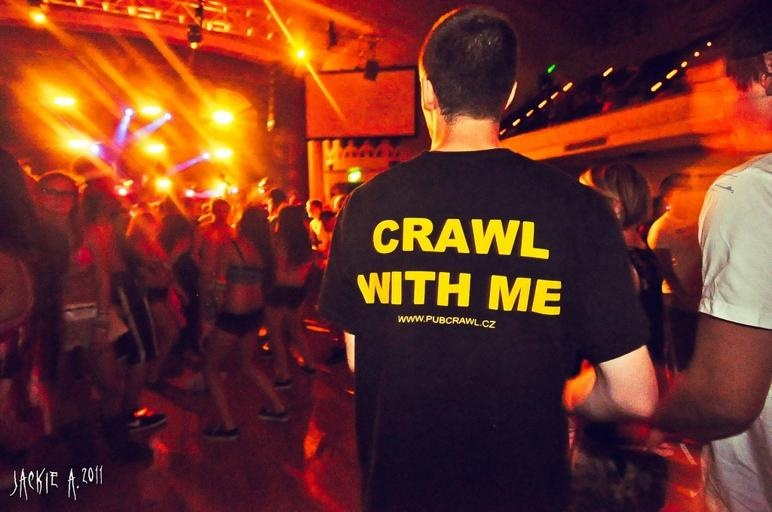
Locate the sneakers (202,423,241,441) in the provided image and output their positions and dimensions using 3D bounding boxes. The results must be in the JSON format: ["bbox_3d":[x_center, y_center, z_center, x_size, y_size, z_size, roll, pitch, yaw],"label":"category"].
[{"bbox_3d":[-1.817,1.951,6.931,0.372,0.147,0.156,5,-11,-3],"label":"sneakers"}]

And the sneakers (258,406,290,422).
[{"bbox_3d":[-1.285,1.805,7.194,0.308,0.122,0.145,7,-3,6],"label":"sneakers"}]

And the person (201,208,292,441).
[{"bbox_3d":[-1.559,0.710,7.216,0.890,2.577,0.946,3,2,-12],"label":"person"}]

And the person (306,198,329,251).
[{"bbox_3d":[-1.133,-0.482,10.347,0.319,0.341,0.888,-9,39,-23],"label":"person"}]

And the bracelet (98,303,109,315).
[{"bbox_3d":[-2.960,0.569,6.561,0.140,0.137,0.078,0,2,-39],"label":"bracelet"}]

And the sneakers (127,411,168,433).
[{"bbox_3d":[-2.644,1.838,6.933,0.405,0.155,0.143,11,5,-30],"label":"sneakers"}]
